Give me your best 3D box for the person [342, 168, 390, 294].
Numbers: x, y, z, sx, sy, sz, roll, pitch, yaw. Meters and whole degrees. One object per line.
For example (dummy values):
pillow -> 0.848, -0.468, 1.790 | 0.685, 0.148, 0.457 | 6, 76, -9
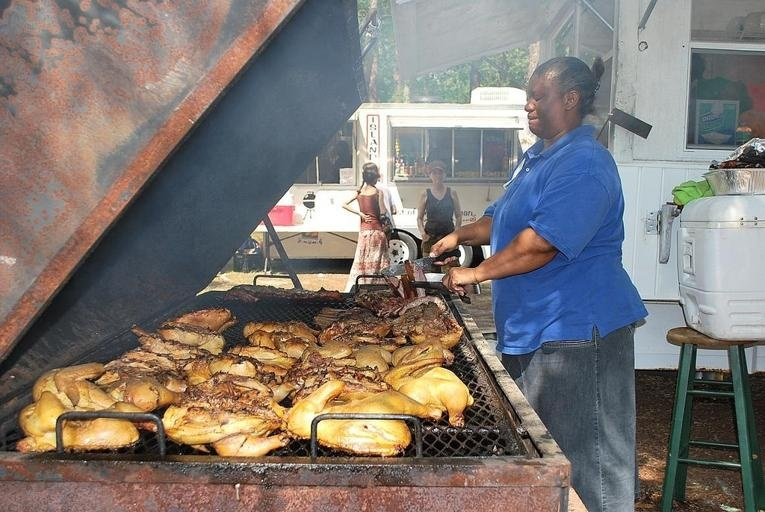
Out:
person -> -0.233, -0.374, 9.039 | 0.614, 1.797, 0.948 | -2, 12, -3

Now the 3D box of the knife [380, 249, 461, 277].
knife -> 0.384, 0.050, 6.341 | 0.905, 0.254, 0.258 | -6, 11, 15

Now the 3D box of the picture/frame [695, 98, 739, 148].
picture/frame -> 2.943, -1.186, 5.728 | 0.521, 0.539, 0.041 | 1, 5, 5

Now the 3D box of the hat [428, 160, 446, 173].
hat -> 0.794, -1.292, 9.367 | 0.243, 0.304, 0.317 | 1, 8, 3
